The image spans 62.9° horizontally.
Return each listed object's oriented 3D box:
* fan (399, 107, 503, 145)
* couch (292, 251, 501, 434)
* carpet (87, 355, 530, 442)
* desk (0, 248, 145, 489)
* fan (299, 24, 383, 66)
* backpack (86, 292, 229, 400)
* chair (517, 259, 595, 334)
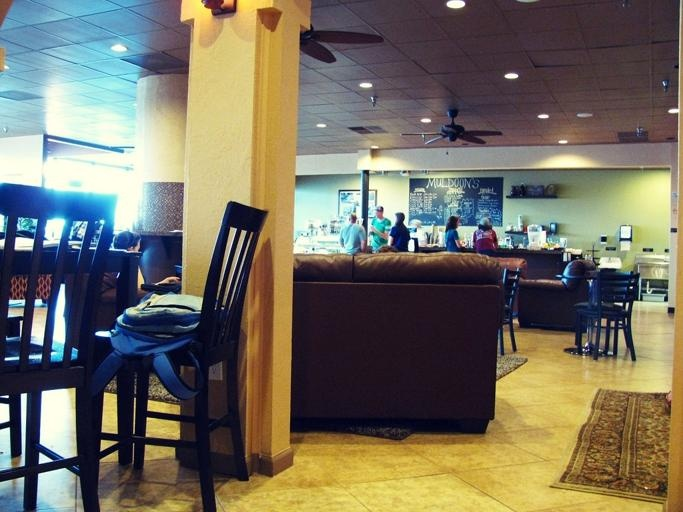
[{"bbox_3d":[1.734,-1.933,8.654,0.947,0.328,1.035,3,3,29],"label":"fan"},{"bbox_3d":[0.453,0.575,4.006,1.612,1.079,0.884,-3,-3,28],"label":"couch"},{"bbox_3d":[0.377,1.000,4.482,1.642,0.063,1.784,0,8,13],"label":"carpet"},{"bbox_3d":[-1.842,0.558,3.882,1.086,1.266,1.054,-6,8,-41],"label":"desk"},{"bbox_3d":[-0.044,-2.087,5.375,0.693,0.365,1.127,1,10,-6],"label":"fan"},{"bbox_3d":[-0.888,0.377,2.664,0.533,0.534,0.230,1,-24,7],"label":"backpack"},{"bbox_3d":[2.956,0.396,7.912,0.861,1.011,1.061,2,17,26],"label":"chair"}]
